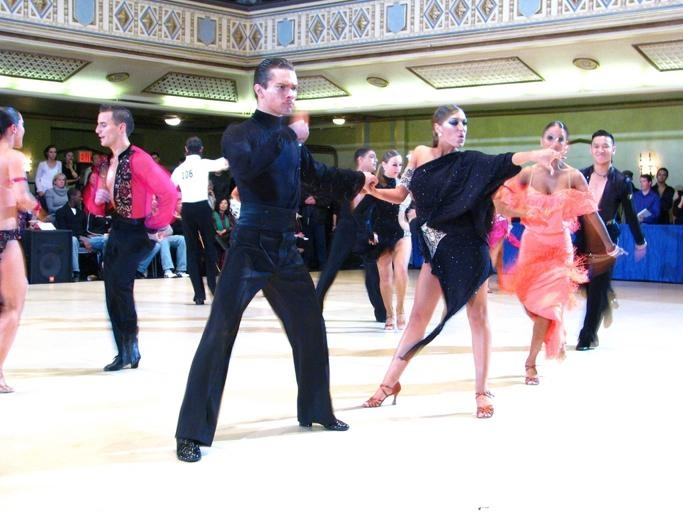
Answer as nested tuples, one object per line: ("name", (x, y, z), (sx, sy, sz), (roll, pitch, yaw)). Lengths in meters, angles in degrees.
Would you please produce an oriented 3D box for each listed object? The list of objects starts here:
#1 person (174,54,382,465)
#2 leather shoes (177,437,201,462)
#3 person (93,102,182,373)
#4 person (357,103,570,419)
("person", (-0.361, -0.031, 3.012), (0.438, 1.970, 1.010), (3, 4, 44))
("leather shoes", (-0.711, 0.905, 2.744), (0.064, 0.056, 0.134), (2, 8, -17))
("person", (-1.620, -0.134, 4.561), (0.661, 2.022, 0.407), (-1, 3, -20))
("person", (0.651, 0.014, 3.543), (0.950, 1.862, 0.491), (1, 3, 17))
